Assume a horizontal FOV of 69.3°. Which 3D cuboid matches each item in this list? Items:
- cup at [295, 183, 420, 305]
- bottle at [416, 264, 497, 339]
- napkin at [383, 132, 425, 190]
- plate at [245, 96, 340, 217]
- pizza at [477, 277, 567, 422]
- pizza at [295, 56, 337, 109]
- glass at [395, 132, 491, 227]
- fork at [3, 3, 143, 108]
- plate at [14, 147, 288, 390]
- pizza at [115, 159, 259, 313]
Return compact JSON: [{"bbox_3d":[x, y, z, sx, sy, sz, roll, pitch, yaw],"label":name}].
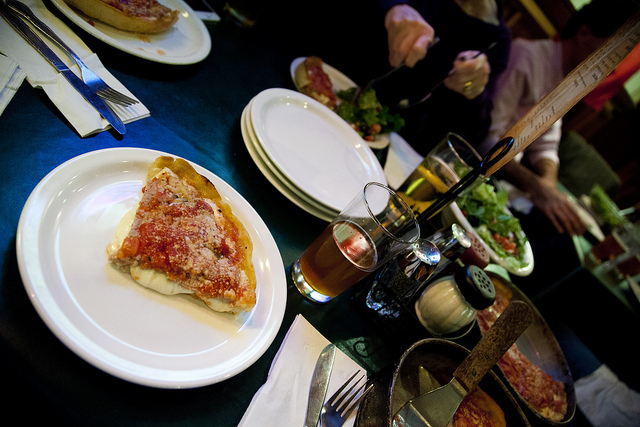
[{"bbox_3d":[0.129,0.126,1.796,0.494,0.321,0.271,-35,80,-21],"label":"cup"},{"bbox_3d":[0.539,0.364,1.888,0.184,0.265,0.181,23,31,-15],"label":"bottle"},{"bbox_3d":[0.452,-0.300,2.590,0.323,0.046,0.325,35,37,-19],"label":"napkin"},{"bbox_3d":[-0.176,-0.214,1.966,0.453,0.059,0.436,19,31,-50],"label":"plate"},{"bbox_3d":[0.863,0.639,2.034,0.482,0.071,0.504,24,29,-47],"label":"pizza"},{"bbox_3d":[-0.053,-0.687,2.494,0.177,0.097,0.323,-2,57,-43],"label":"pizza"},{"bbox_3d":[0.620,-0.155,2.363,0.301,0.473,0.304,35,31,-38],"label":"glass"},{"bbox_3d":[-1.012,-0.633,1.865,0.645,0.069,0.087,46,45,-3],"label":"fork"},{"bbox_3d":[-0.559,0.171,1.622,0.938,0.142,0.779,20,68,-6],"label":"plate"},{"bbox_3d":[-0.429,0.073,1.661,0.494,0.097,0.465,15,69,-8],"label":"pizza"}]
